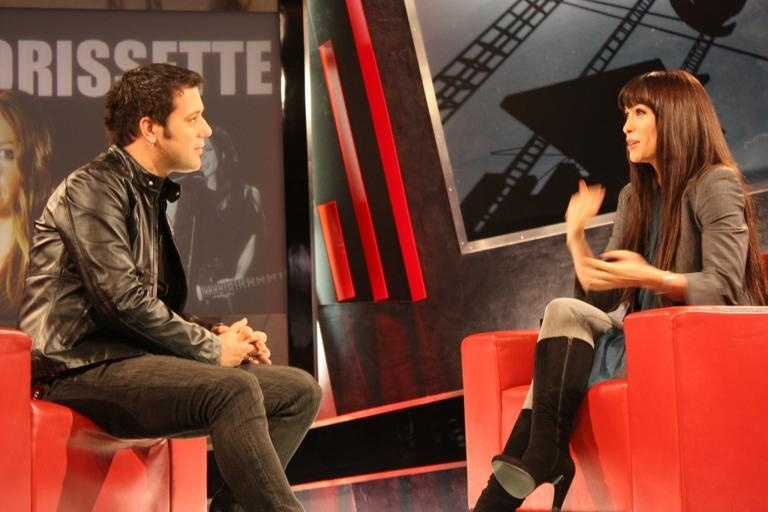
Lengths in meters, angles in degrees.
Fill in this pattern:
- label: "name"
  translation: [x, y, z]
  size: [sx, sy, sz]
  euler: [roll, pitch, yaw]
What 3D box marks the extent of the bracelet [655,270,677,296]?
- label: "bracelet"
  translation: [0.989, 0.091, 2.421]
  size: [0.057, 0.107, 0.056]
  euler: [13, -6, -3]
